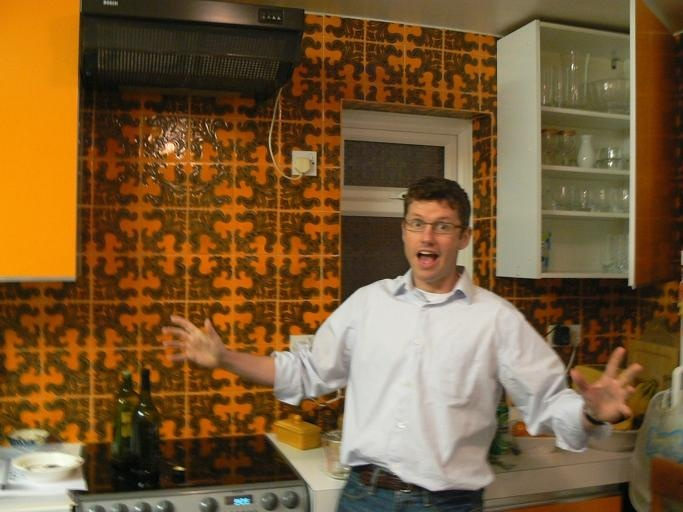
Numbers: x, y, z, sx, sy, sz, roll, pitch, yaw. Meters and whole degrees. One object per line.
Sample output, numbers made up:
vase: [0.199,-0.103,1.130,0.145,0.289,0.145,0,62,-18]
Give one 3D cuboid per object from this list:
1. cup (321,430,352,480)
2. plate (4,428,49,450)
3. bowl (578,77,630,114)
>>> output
cup: [-0.024,0.763,2.494,0.124,0.134,0.139,1,0,-3]
plate: [-1.277,0.734,2.664,0.163,0.073,0.102,-1,0,-22]
bowl: [1.274,-0.771,3.192,0.203,0.143,0.165,0,3,7]
